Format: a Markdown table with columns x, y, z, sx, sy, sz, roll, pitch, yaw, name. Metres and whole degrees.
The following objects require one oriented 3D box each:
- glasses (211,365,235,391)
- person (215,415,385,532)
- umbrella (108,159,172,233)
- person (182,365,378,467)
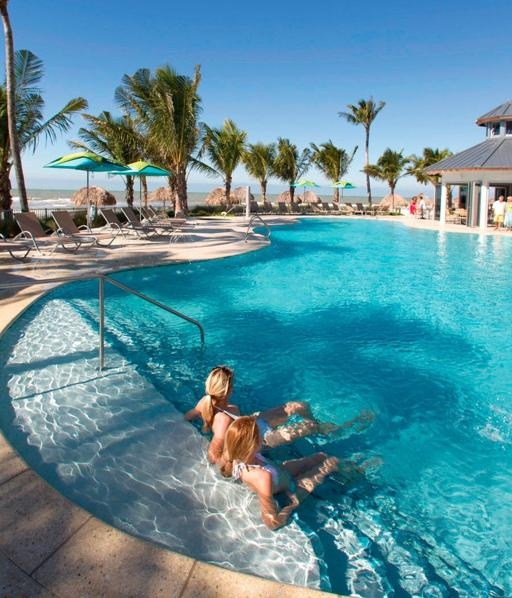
| x | y | z | sx | sy | sz | roll | pitch | yaw | name |
| --- | --- | --- | --- | --- | --- | --- | --- | --- | --- |
| -0.271 | 0.593 | 3.203 | 0.154 | 0.177 | 0.198 | 7 | 13 | 26 | glasses |
| 0.309 | 1.116 | 3.009 | 1.280 | 0.682 | 0.670 | -8 | -3 | -34 | person |
| -5.208 | -5.072 | 18.348 | 2.307 | 1.762 | 2.213 | 7 | 10 | 13 | umbrella |
| 0.175 | 0.922 | 3.614 | 1.416 | 0.717 | 0.693 | -12 | 29 | -21 | person |
